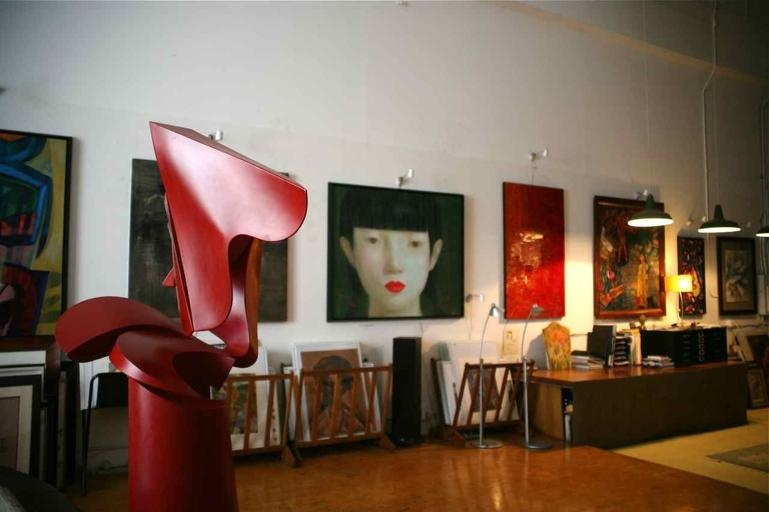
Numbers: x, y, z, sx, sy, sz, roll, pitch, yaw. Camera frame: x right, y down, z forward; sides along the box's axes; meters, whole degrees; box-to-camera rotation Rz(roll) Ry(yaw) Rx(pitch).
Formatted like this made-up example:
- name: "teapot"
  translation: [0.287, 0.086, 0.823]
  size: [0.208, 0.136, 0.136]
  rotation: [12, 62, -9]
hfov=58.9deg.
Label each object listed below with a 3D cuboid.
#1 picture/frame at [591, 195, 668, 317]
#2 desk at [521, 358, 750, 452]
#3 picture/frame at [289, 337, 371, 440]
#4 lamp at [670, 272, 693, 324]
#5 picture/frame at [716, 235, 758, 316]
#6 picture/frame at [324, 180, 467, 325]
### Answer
- name: "picture/frame"
  translation: [3.223, 0.020, 9.145]
  size: [1.387, 1.283, 0.059]
  rotation: [12, -8, -32]
- name: "desk"
  translation: [2.998, 1.814, 8.174]
  size: [2.401, 0.855, 0.745]
  rotation: [0, 2, -28]
- name: "picture/frame"
  translation: [-0.582, 1.390, 7.221]
  size: [0.776, 0.919, 0.626]
  rotation: [-1, 8, -10]
- name: "lamp"
  translation: [4.125, 0.581, 9.542]
  size: [0.326, 0.679, 0.535]
  rotation: [4, 8, 24]
- name: "picture/frame"
  translation: [4.858, 0.274, 9.440]
  size: [0.538, 1.063, 0.533]
  rotation: [2, 8, 14]
- name: "picture/frame"
  translation: [0.047, -0.028, 7.737]
  size: [1.553, 1.417, 0.071]
  rotation: [-1, 1, -22]
